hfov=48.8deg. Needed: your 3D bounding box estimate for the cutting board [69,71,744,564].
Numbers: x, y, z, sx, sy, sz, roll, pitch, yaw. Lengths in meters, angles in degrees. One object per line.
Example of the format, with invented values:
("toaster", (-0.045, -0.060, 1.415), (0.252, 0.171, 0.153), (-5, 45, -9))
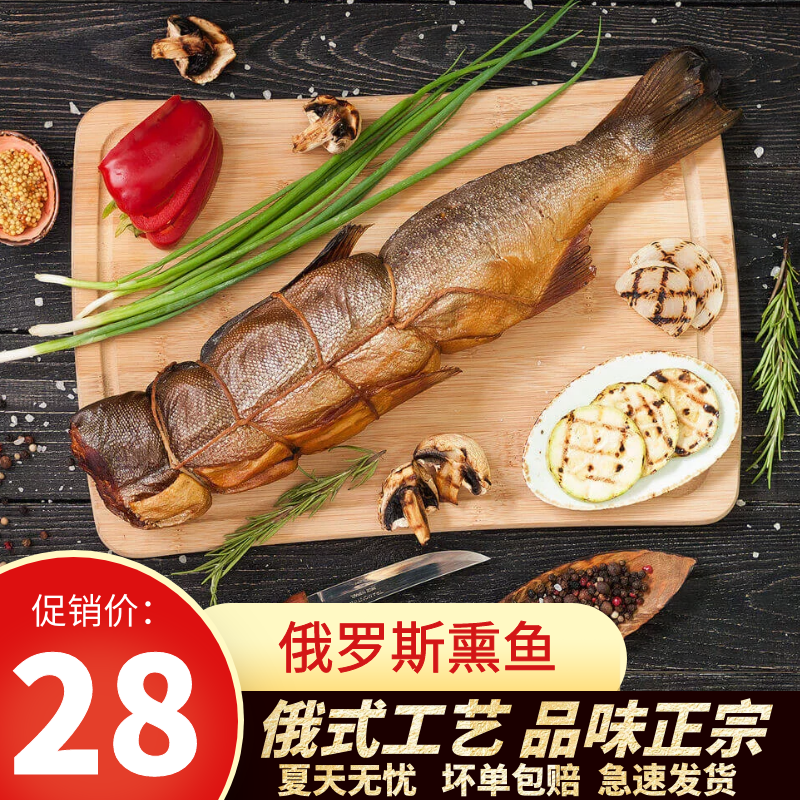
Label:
("cutting board", (-0.012, -0.241, 2.254), (1.770, 1.070, 1.163), (5, 38, 4))
